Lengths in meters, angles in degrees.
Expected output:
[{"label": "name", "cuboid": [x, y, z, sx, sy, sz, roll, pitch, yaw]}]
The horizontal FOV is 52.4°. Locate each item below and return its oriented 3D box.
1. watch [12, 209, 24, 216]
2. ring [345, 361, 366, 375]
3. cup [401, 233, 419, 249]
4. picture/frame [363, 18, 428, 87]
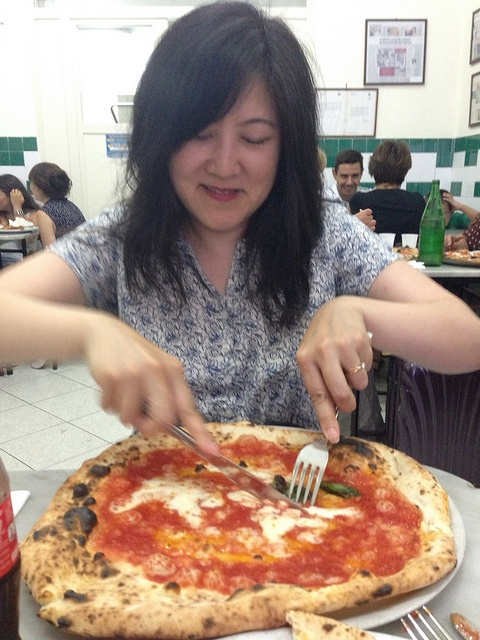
[{"label": "watch", "cuboid": [-2.278, -1.114, 5.057, 0.079, 0.090, 0.026, -8, -16, -12]}, {"label": "ring", "cuboid": [0.169, 0.073, 0.727, 0.016, 0.019, 0.018, -9, -9, -41]}, {"label": "cup", "cuboid": [1.063, -0.497, 3.065, 0.086, 0.080, 0.097, 0, 8, 1]}, {"label": "picture/frame", "cuboid": [1.490, -2.649, 4.739, 0.532, 0.618, 0.047, 0, 10, -1]}]
